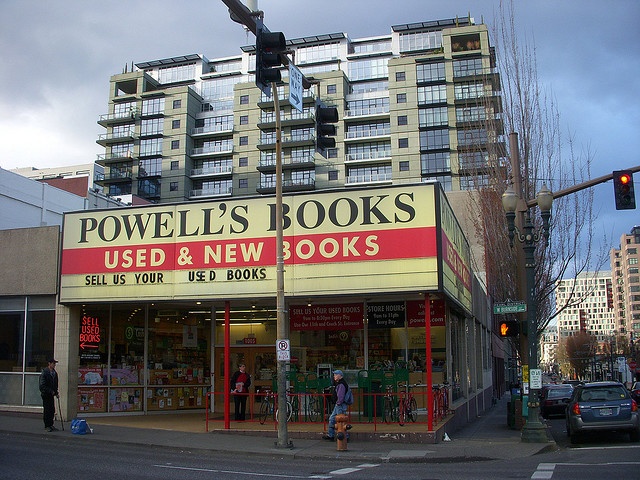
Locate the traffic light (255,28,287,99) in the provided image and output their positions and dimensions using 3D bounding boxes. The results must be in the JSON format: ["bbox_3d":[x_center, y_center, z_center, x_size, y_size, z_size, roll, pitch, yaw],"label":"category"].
[{"bbox_3d":[-1.307,-4.690,21.140,0.775,1.852,1.171,-1,-14,-4],"label":"traffic light"}]

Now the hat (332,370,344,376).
[{"bbox_3d":[0.683,4.427,26.510,0.322,0.185,0.473,-9,-17,42],"label":"hat"}]

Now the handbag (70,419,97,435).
[{"bbox_3d":[-8.127,6.358,27.263,0.558,0.360,0.785,2,-9,-7],"label":"handbag"}]

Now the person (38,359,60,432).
[{"bbox_3d":[-9.345,5.355,27.496,0.585,2.404,0.703,1,-14,-14],"label":"person"}]
